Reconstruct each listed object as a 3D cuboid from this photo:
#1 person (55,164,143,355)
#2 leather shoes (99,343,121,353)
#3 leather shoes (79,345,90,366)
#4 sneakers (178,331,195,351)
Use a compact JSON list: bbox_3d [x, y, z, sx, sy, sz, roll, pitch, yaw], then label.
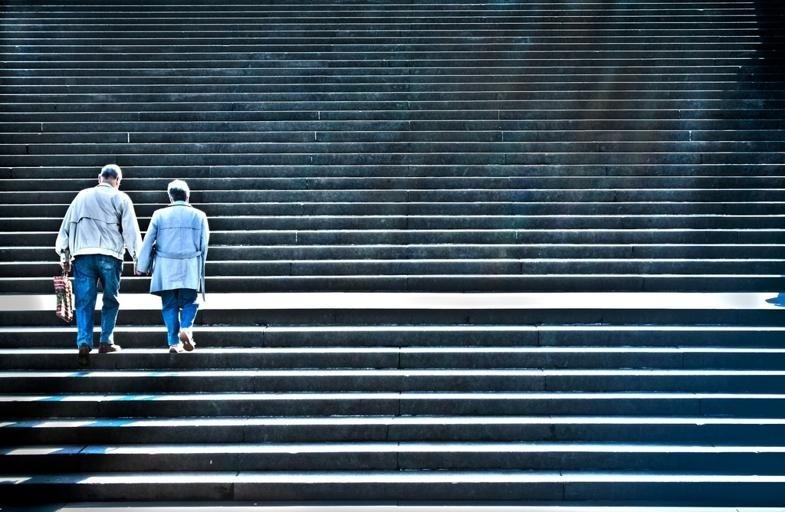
[{"bbox_3d":[-4.601,0.060,21.465,1.011,2.940,1.166,-6,21,-45],"label":"person"},{"bbox_3d":[-4.471,1.444,21.467,0.306,0.151,0.146,-1,0,-14],"label":"leather shoes"},{"bbox_3d":[-4.831,1.539,21.256,0.162,0.311,0.159,3,0,-13],"label":"leather shoes"},{"bbox_3d":[-3.231,1.315,21.369,0.204,0.323,0.237,-25,11,-12],"label":"sneakers"}]
